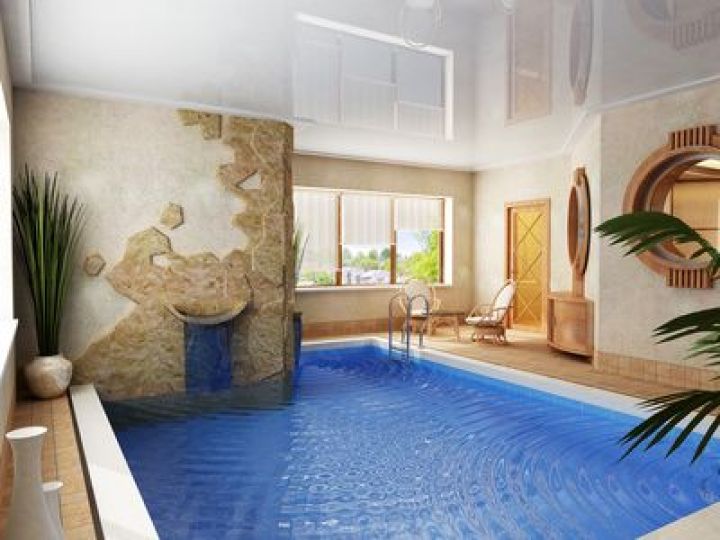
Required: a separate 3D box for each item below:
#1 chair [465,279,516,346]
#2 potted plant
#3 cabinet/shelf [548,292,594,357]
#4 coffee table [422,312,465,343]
[{"bbox_3d":[2.437,0.754,8.411,0.715,1.040,1.008,4,8,33],"label":"chair"},{"bbox_3d":[-3.462,0.131,5.170,0.660,2.532,0.718,-2,7,-14],"label":"potted plant"},{"bbox_3d":[3.213,0.841,7.054,0.372,0.686,1.031,1,-1,-9],"label":"cabinet/shelf"},{"bbox_3d":[1.653,1.083,9.046,0.650,0.395,0.639,1,-5,-21],"label":"coffee table"}]
